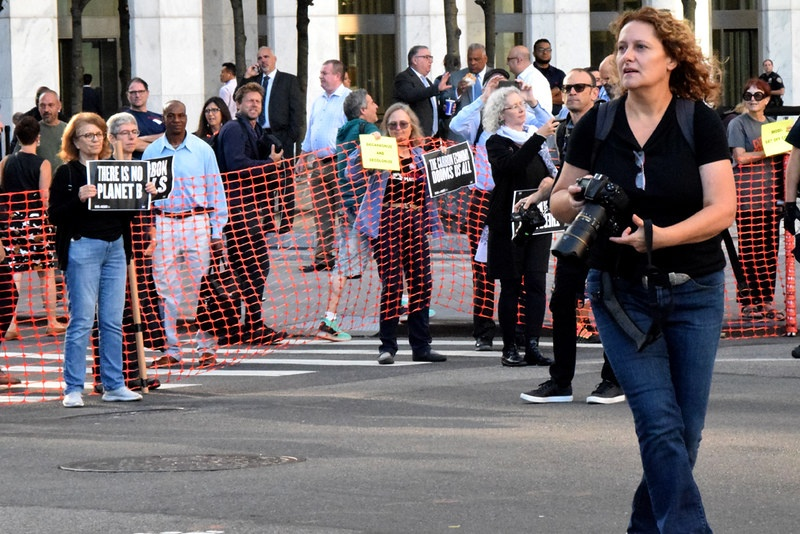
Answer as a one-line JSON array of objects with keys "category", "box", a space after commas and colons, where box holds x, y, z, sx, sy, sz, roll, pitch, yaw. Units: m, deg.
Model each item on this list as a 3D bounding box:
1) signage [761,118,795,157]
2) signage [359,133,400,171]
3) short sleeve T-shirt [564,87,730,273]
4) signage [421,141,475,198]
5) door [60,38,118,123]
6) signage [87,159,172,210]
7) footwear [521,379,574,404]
[{"category": "signage", "box": [4.278, -1.471, 16.520, 0.341, 0.414, 0.440, -2, 2, 14]}, {"category": "signage", "box": [-0.224, -1.201, 15.300, 0.401, 0.401, 0.309, -3, 2, -1]}, {"category": "short sleeve T-shirt", "box": [1.551, -0.513, 9.069, 1.306, 1.185, 0.671, -1, 0, 13]}, {"category": "signage", "box": [0.533, -1.022, 15.411, 0.024, 0.483, 0.755, -6, -5, -42]}, {"category": "door", "box": [-8.408, -4.982, 38.261, 1.412, 2.037, 1.410, -6, 7, 10]}, {"category": "signage", "box": [-2.509, -0.783, 13.653, 0.090, 0.488, 1.368, 2, 6, 26]}, {"category": "footwear", "box": [1.313, 1.120, 12.840, 0.501, 0.188, 0.174, 1, -2, -4]}]
